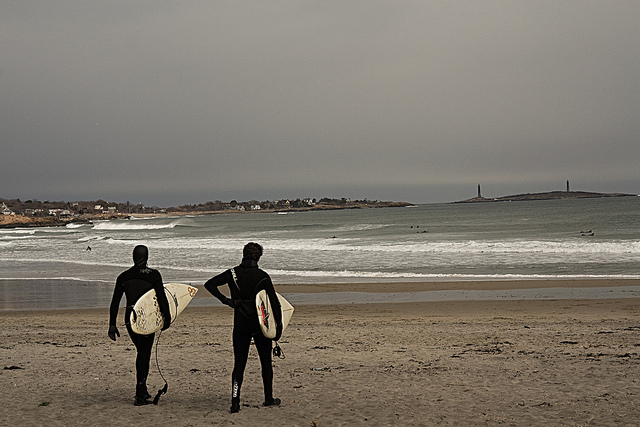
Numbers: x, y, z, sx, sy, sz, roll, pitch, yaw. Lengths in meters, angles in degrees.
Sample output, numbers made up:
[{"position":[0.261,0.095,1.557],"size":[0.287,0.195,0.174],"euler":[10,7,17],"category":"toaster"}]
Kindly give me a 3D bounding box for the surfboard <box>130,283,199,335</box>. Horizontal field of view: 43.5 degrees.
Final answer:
[{"position":[-3.327,1.957,17.150],"size":[0.292,0.863,2.709],"euler":[-5,-19,-44],"category":"surfboard"}]

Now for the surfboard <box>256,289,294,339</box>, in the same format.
[{"position":[-0.959,2.063,17.005],"size":[0.454,1.016,0.924],"euler":[1,7,22],"category":"surfboard"}]
